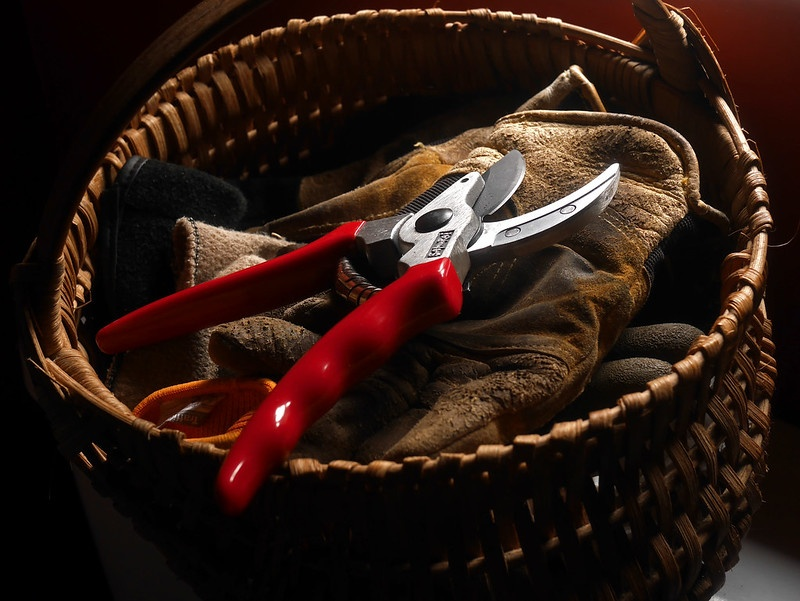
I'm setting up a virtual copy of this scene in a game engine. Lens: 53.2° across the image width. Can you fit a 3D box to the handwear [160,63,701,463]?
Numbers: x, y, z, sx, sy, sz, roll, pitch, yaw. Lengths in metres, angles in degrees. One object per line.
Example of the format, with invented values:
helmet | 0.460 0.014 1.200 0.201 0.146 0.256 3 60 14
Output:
handwear | 0.075 0.027 0.799 0.406 0.139 0.410 -11 54 -8
